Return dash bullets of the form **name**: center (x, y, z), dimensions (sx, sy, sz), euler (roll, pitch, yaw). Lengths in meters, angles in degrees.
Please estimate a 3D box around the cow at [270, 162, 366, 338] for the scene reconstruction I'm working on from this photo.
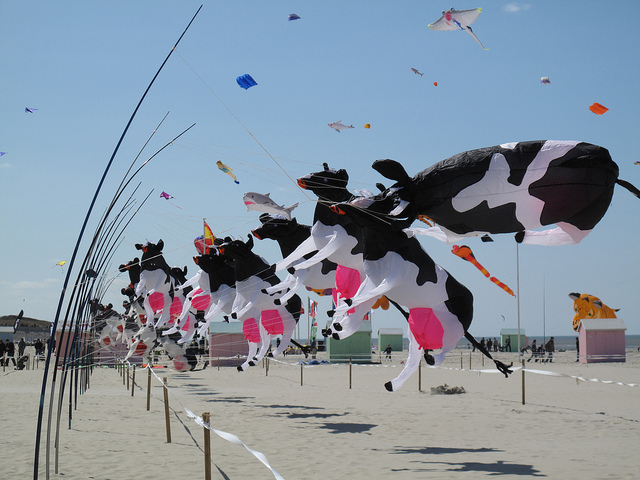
- **cow**: center (-0.160, -0.107, 15.948), dimensions (2.201, 5.917, 2.196), euler (-3, 2, 27)

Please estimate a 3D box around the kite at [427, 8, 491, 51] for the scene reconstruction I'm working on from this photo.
- **kite**: center (3.564, -5.581, 13.977), dimensions (0.788, 0.872, 1.147), euler (5, -12, -15)

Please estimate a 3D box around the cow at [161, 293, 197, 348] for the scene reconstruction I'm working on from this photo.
- **cow**: center (-6.623, 3.833, 25.698), dimensions (1.338, 2.777, 5.008), euler (5, -11, -12)

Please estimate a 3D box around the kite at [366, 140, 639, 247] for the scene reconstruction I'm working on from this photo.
- **kite**: center (3.936, -0.851, 11.263), dimensions (4.406, 2.119, 1.295), euler (-2, -13, 21)

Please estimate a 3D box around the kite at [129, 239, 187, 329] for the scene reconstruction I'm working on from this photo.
- **kite**: center (-8.025, 2.482, 26.432), dimensions (1.782, 5.136, 3.952), euler (0, 4, 21)

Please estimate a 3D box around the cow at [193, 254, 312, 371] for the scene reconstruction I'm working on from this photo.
- **cow**: center (-2.741, 2.400, 22.189), dimensions (4.632, 5.678, 4.792), euler (8, 1, -29)

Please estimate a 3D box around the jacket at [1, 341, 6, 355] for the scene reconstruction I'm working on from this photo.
- **jacket**: center (-20.111, 6.915, 33.810), dimensions (0.293, 0.696, 1.358), euler (9, -13, -29)

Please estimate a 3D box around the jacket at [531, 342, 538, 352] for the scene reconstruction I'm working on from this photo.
- **jacket**: center (14.833, 7.468, 37.044), dimensions (0.367, 0.639, 1.766), euler (-3, -11, 21)

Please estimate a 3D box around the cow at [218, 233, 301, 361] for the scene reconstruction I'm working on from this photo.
- **cow**: center (-2.414, 2.119, 20.729), dimensions (2.756, 5.663, 2.715), euler (1, -1, -39)

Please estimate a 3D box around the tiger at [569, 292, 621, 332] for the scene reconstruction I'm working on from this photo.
- **tiger**: center (19.435, 4.949, 37.698), dimensions (3.737, 2.527, 2.604), euler (-17, -3, 12)
